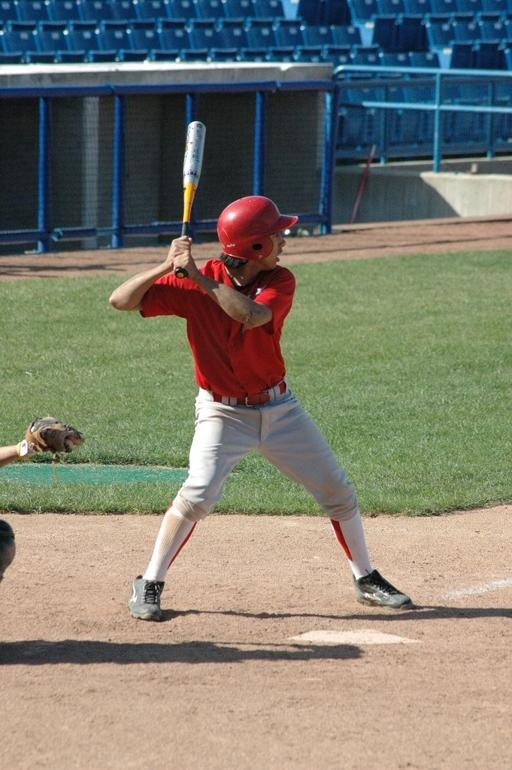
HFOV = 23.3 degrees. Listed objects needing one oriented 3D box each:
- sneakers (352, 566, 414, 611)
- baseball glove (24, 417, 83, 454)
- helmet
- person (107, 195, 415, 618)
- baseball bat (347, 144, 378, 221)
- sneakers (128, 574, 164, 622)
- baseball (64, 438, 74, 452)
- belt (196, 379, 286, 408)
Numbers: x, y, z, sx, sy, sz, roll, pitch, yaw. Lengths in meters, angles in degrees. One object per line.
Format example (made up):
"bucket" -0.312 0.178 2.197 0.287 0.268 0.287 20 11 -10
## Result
"sneakers" 0.470 0.782 4.784 0.271 0.115 0.091 8 20 42
"baseball glove" -0.629 0.155 3.889 0.153 0.109 0.071 -15 50 6
"helmet" -0.017 -0.570 4.438 0.291 0.174 0.203 -18 23 9
"person" -0.012 0.108 4.533 0.992 1.542 0.424 -3 14 -7
"baseball bat" 1.626 -3.125 18.989 0.147 1.460 0.143 -27 68 -25
"sneakers" -0.406 0.785 4.572 0.078 0.083 0.193 27 4 -16
"baseball" -0.582 0.185 3.855 0.025 0.059 0.018 12 -13 -29
"belt" -0.050 0.039 4.513 0.320 0.065 0.151 0 13 1
